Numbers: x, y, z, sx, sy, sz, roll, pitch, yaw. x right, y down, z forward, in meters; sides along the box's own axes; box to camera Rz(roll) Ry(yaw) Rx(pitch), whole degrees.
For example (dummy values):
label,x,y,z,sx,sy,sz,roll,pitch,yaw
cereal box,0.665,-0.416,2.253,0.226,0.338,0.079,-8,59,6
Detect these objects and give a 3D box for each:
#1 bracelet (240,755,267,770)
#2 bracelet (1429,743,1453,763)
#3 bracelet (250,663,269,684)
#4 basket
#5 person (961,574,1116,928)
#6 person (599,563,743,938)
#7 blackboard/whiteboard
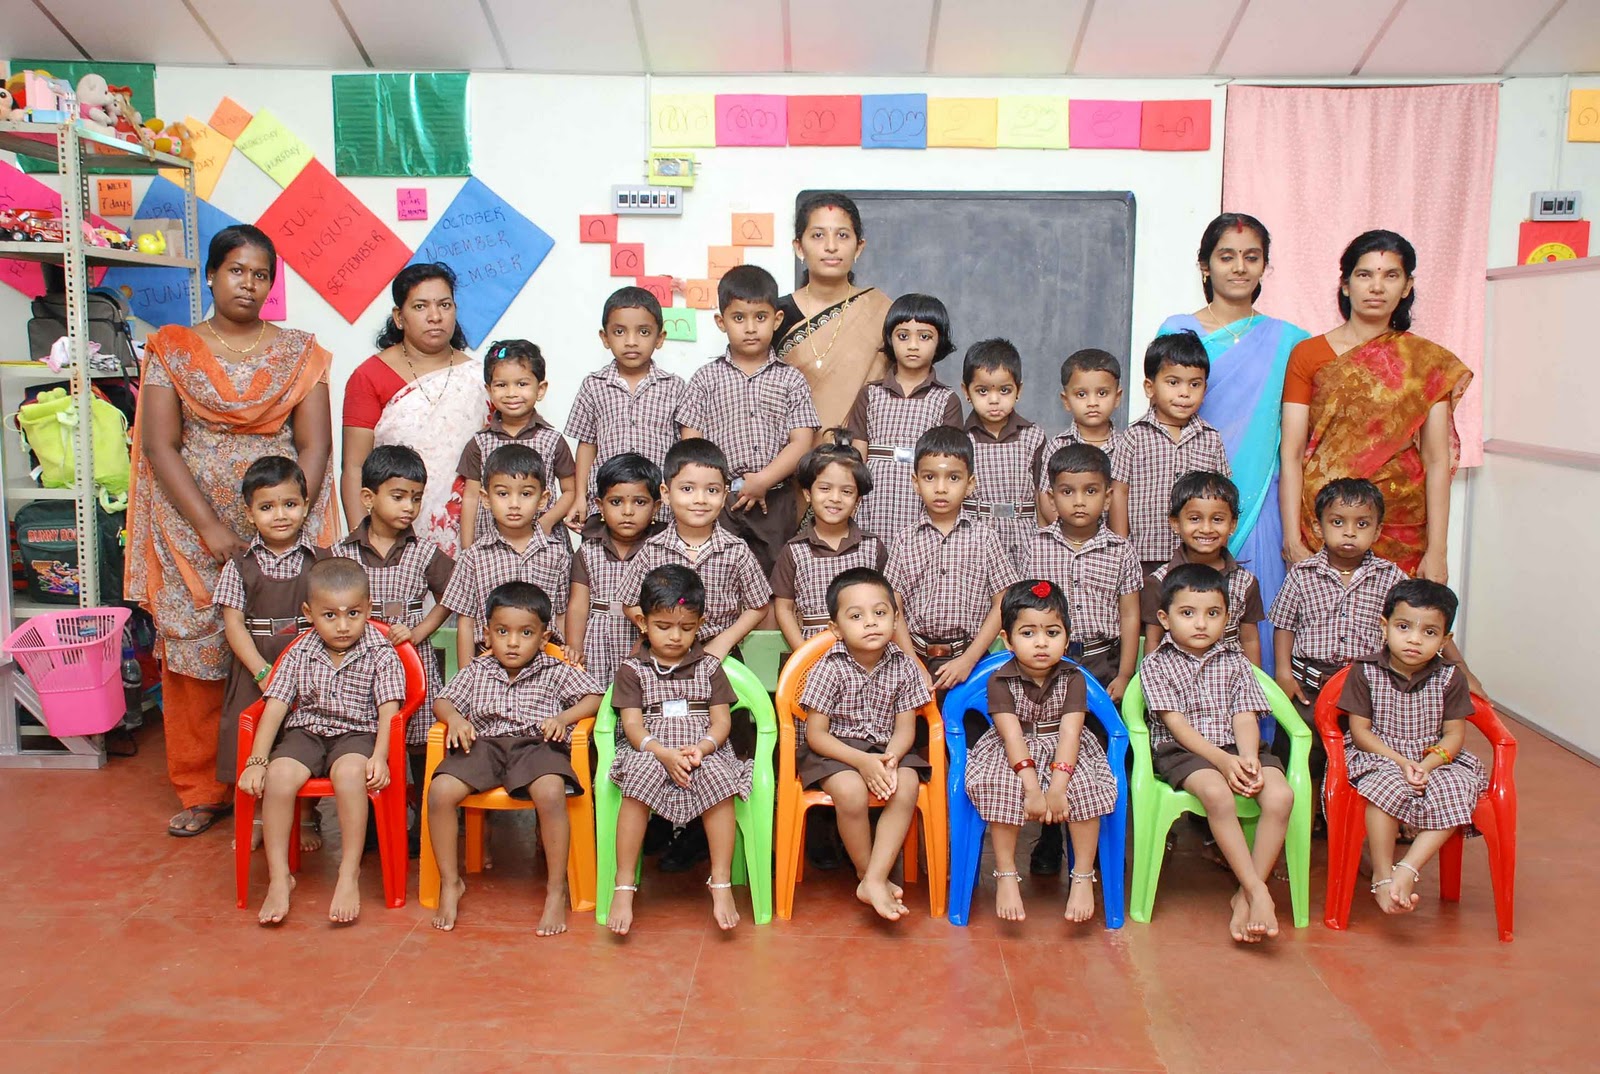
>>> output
label,x,y,z,sx,sy,sz,roll,pitch,yaw
bracelet,-1.510,0.626,3.668,0.042,0.016,0.039,-3,6,3
bracelet,1.767,0.600,3.655,0.051,0.015,0.051,-15,20,-20
bracelet,-1.597,0.402,3.902,0.048,0.054,0.020,-3,-16,19
basket,-2.369,0.399,4.472,0.490,0.435,0.424,0,5,-13
person,0.670,0.588,3.654,0.404,0.913,0.374,3,10,8
person,-0.324,0.561,3.604,0.378,0.933,0.362,1,10,-7
blackboard/whiteboard,0.565,-0.752,4.557,1.229,0.811,0.044,0,2,2
